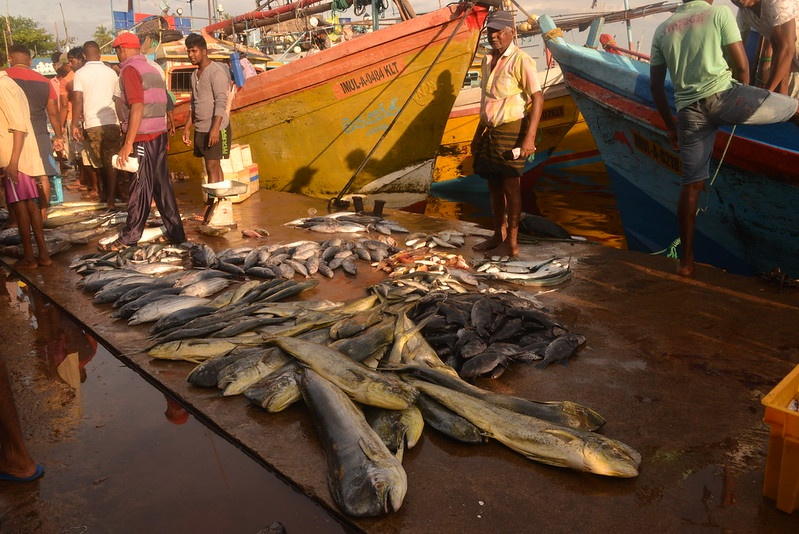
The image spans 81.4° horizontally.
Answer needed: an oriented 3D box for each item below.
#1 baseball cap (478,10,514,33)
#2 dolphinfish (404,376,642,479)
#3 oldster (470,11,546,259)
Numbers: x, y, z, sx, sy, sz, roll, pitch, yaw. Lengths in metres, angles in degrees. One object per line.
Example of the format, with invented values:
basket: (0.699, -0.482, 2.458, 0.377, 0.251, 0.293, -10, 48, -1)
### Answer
baseball cap: (1.325, -3.284, 6.203, 0.463, 0.190, 0.324, -3, 11, -40)
dolphinfish: (0.762, 1.169, 3.616, 1.927, 0.384, 0.332, 11, 34, 23)
oldster: (1.472, -1.721, 6.936, 1.418, 3.190, 1.475, 5, 10, 36)
